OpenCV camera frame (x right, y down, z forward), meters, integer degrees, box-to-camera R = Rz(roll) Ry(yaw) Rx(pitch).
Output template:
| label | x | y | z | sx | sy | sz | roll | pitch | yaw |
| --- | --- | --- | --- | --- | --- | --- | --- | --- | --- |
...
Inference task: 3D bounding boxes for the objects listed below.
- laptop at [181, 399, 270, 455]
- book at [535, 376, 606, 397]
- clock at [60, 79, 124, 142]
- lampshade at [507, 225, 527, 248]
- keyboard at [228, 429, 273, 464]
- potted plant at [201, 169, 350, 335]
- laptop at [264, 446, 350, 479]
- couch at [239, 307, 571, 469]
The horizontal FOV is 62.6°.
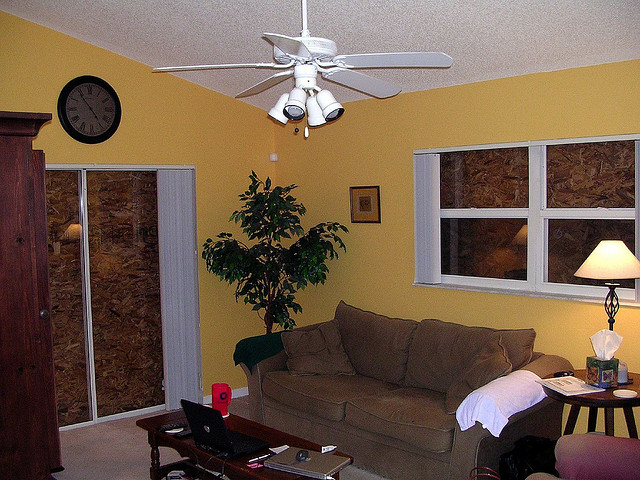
| label | x | y | z | sx | sy | sz | roll | pitch | yaw |
| --- | --- | --- | --- | --- | --- | --- | --- | --- | --- |
| laptop | -0.637 | 1.155 | 3.502 | 0.426 | 0.303 | 0.405 | -1 | 2 | -43 |
| book | 1.772 | 1.039 | 3.734 | 0.364 | 0.056 | 0.307 | -2 | 3 | -13 |
| clock | -2.251 | -1.298 | 5.208 | 0.672 | 0.643 | 0.078 | 3 | 12 | 11 |
| lampshade | 1.763 | -0.023 | 4.695 | 0.164 | 0.121 | 0.161 | -1 | 2 | -21 |
| keyboard | -0.525 | 1.374 | 3.476 | 0.425 | 0.039 | 0.205 | 1 | 3 | 42 |
| potted plant | -0.484 | 0.135 | 5.620 | 1.438 | 1.707 | 1.026 | -1 | 3 | 1 |
| laptop | -0.088 | 1.354 | 3.175 | 0.345 | 0.069 | 0.213 | 1 | 3 | 32 |
| couch | 0.676 | 1.326 | 4.491 | 2.553 | 1.130 | 1.011 | 1 | 3 | 36 |
